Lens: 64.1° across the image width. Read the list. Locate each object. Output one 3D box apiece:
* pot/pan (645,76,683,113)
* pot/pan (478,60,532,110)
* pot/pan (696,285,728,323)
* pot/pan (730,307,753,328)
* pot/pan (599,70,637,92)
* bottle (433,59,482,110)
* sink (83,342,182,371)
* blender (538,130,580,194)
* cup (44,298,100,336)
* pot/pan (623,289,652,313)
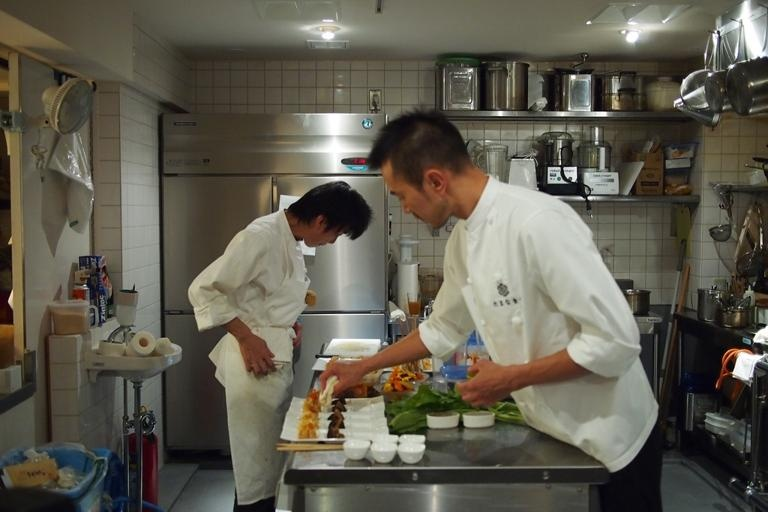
[{"bbox_3d":[2.409,-1.387,5.409,0.294,0.310,0.301,2,2,-1],"label":"pot/pan"},{"bbox_3d":[1.043,-1.451,5.265,0.396,0.390,0.444,0,3,6],"label":"pot/pan"},{"bbox_3d":[2.665,0.406,5.035,0.264,0.268,0.209,1,0,3],"label":"pot/pan"},{"bbox_3d":[2.809,0.472,4.830,0.164,0.130,0.158,0,-2,4],"label":"pot/pan"},{"bbox_3d":[2.063,-1.496,5.411,0.305,0.174,0.207,0,0,3],"label":"pot/pan"},{"bbox_3d":[0.640,-1.470,5.257,0.373,0.447,0.186,2,12,4],"label":"bottle"},{"bbox_3d":[-1.647,0.686,4.005,0.586,0.145,0.233,0,13,-3],"label":"sink"},{"bbox_3d":[1.543,-0.817,5.464,0.326,0.521,0.377,-5,12,-16],"label":"blender"},{"bbox_3d":[-2.008,0.395,3.918,0.224,0.164,0.182,2,-3,-18],"label":"cup"},{"bbox_3d":[2.210,0.390,5.419,0.252,0.221,0.322,-1,-5,3],"label":"pot/pan"}]
